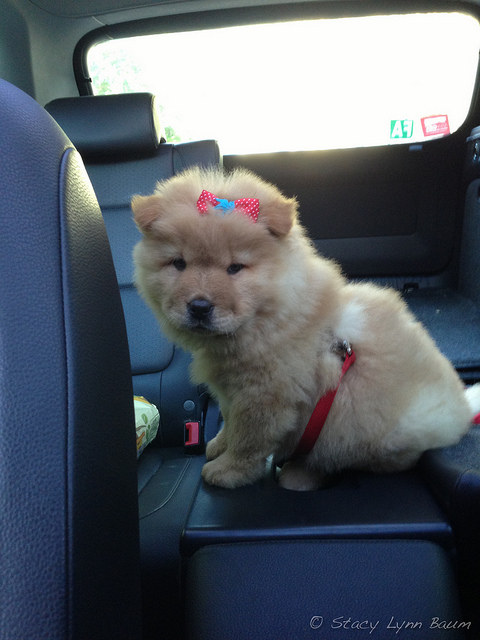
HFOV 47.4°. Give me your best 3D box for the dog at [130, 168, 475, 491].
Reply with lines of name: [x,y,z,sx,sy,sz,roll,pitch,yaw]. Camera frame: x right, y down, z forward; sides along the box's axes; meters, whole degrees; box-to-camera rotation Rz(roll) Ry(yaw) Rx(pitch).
dog: [0.218,0.031,1.801,1.041,0.891,0.742,-1,1,-24]

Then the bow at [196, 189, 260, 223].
bow: [-0.030,-0.305,1.476,0.171,0.095,0.092,-9,36,-2]
